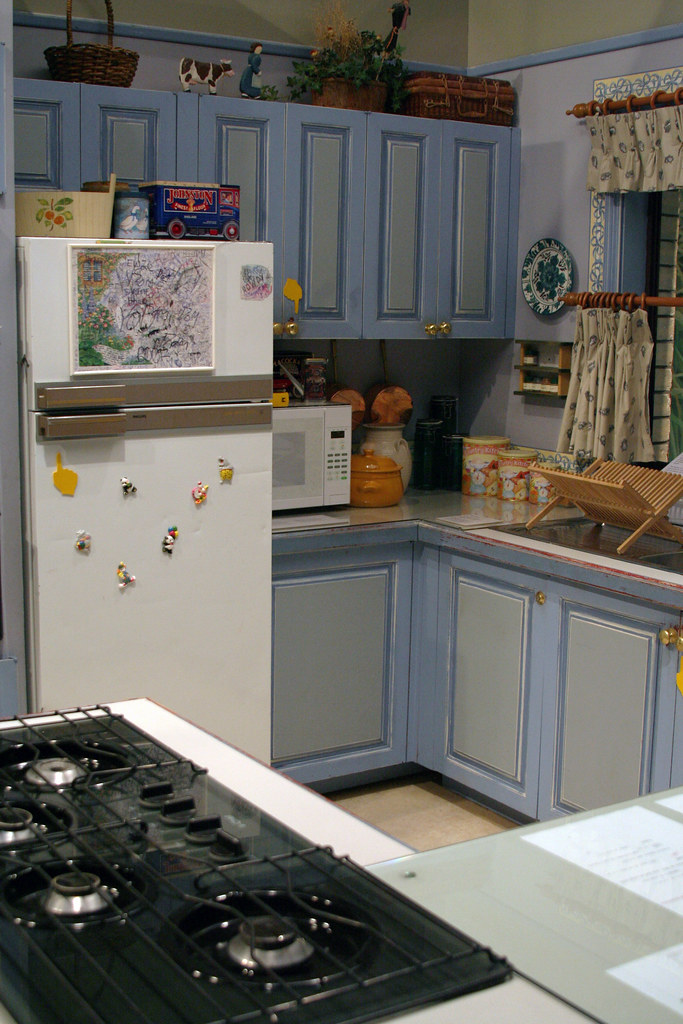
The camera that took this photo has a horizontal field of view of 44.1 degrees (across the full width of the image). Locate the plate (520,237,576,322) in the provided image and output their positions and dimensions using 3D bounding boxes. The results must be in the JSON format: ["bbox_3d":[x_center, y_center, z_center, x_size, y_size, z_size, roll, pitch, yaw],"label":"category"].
[{"bbox_3d":[0.912,-1.015,3.685,0.045,0.425,0.413,-3,3,-31],"label":"plate"}]

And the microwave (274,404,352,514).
[{"bbox_3d":[-0.106,-0.188,3.419,0.414,0.385,0.280,-2,-4,25],"label":"microwave"}]

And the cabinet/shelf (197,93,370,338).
[{"bbox_3d":[-0.271,-1.161,3.430,0.634,0.940,0.313,-5,25,-17],"label":"cabinet/shelf"}]

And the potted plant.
[{"bbox_3d":[-0.101,-1.772,3.474,0.309,0.293,0.412,5,22,41],"label":"potted plant"}]

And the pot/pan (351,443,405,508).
[{"bbox_3d":[0.152,-0.152,3.495,0.201,0.170,0.254,0,9,0],"label":"pot/pan"}]

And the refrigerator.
[{"bbox_3d":[-0.673,-0.050,2.894,0.734,1.698,0.561,-9,26,-26],"label":"refrigerator"}]

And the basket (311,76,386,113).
[{"bbox_3d":[0.052,-1.676,3.410,0.198,0.083,0.198,12,34,14],"label":"basket"}]
